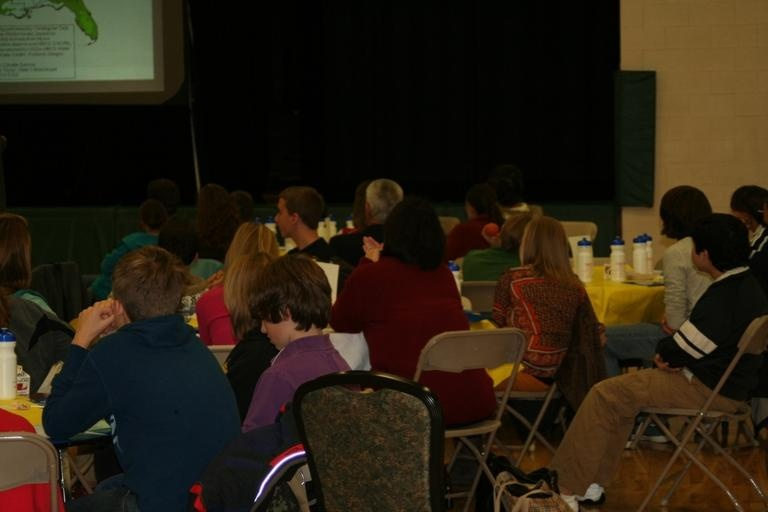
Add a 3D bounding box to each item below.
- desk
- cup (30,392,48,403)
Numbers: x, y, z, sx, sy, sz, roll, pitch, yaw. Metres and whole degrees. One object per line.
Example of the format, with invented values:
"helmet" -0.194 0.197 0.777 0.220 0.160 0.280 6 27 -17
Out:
"desk" -1.334 0.751 2.922 0.421 0.186 0.660 0 3 -30
"cup" -1.582 0.653 3.314 0.072 0.037 0.098 3 4 -3
